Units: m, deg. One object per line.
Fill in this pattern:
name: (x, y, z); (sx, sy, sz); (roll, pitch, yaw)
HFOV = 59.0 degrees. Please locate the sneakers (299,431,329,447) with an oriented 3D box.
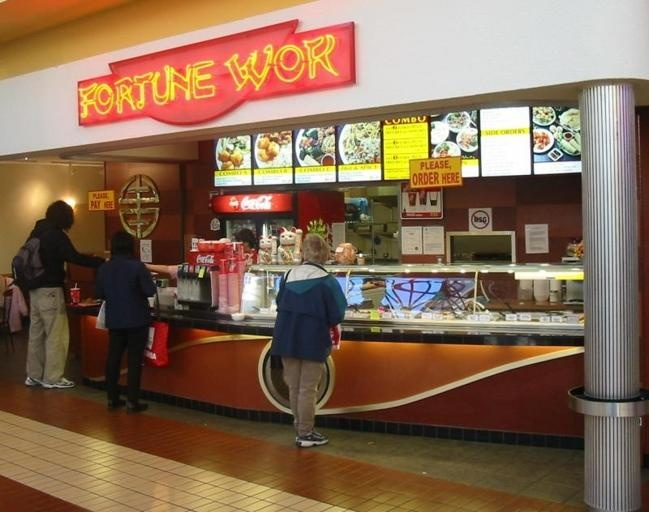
sneakers: (-0.100, 1.555, 4.889); (0.282, 0.119, 0.094); (0, 0, -16)

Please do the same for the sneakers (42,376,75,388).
sneakers: (-3.086, 1.491, 6.726); (0.396, 0.147, 0.135); (0, 1, -14)

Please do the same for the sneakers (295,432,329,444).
sneakers: (-0.109, 1.551, 4.886); (0.290, 0.122, 0.097); (0, -1, -14)

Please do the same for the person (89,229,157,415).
person: (-1.991, 0.659, 5.932); (0.602, 1.836, 0.369); (0, 2, 16)

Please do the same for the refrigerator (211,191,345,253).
refrigerator: (-0.533, -0.350, 9.115); (1.790, 1.064, 0.934); (0, -1, 23)

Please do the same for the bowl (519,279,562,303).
bowl: (2.010, 0.329, 5.346); (0.274, 0.136, 0.139); (1, 2, -12)

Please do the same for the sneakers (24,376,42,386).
sneakers: (-3.438, 1.470, 6.746); (0.186, 0.070, 0.082); (-4, 7, -35)

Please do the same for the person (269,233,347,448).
person: (-0.132, 0.709, 4.876); (0.613, 1.786, 0.387); (-1, 2, -6)

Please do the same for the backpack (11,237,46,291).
backpack: (-3.377, 0.095, 6.503); (0.223, 0.627, 0.395); (-2, 3, -44)
